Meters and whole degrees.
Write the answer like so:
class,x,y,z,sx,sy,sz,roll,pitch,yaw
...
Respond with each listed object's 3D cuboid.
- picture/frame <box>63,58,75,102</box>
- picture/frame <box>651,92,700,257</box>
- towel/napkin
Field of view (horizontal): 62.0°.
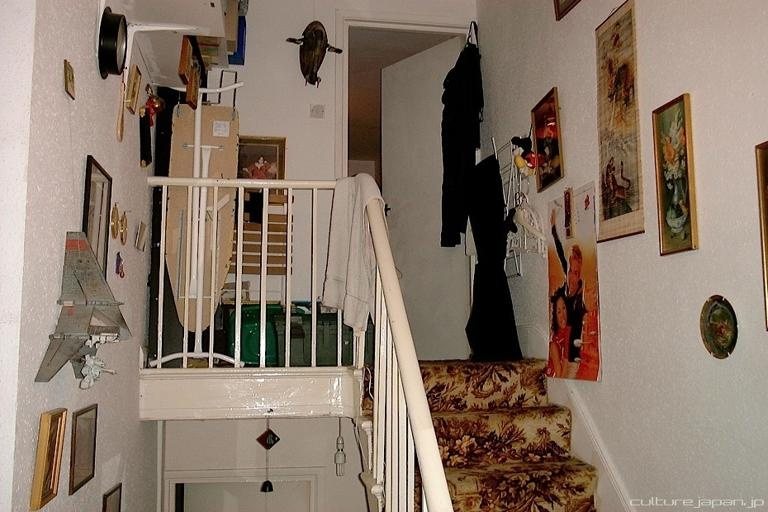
class,x,y,z,sx,sy,sz,roll,pitch,yaw
picture/frame,-1.402,-0.790,2.873,0.030,0.158,0.127,0,-4,-14
picture/frame,1.374,-0.379,3.028,0.042,0.730,0.224,0,-5,-20
towel/napkin,-0.188,-0.026,3.662,0.218,0.930,0.665,0,-5,-21
